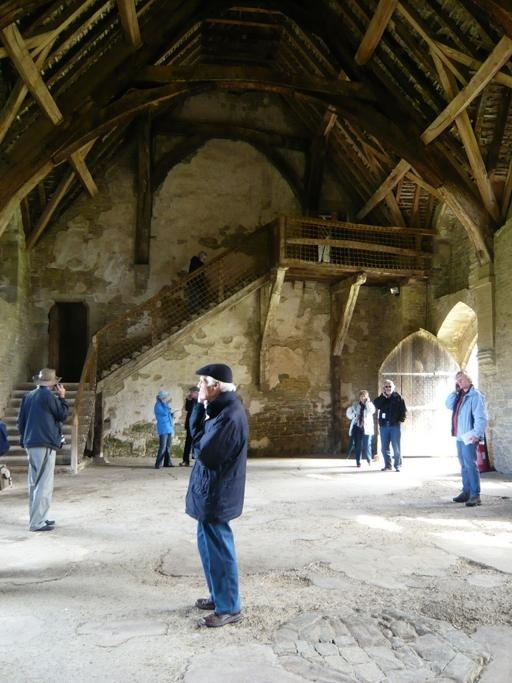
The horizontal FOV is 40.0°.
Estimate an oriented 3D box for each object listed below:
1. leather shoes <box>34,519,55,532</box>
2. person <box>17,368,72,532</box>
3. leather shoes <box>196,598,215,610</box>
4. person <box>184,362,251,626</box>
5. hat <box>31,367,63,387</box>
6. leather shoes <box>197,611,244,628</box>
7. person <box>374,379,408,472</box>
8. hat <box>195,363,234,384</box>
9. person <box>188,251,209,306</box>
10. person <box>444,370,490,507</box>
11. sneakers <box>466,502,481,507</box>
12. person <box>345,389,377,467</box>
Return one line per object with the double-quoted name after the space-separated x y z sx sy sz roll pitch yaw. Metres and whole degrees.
-1.756 1.518 5.813 0.162 0.063 0.219 0 -2 -5 "leather shoes"
-1.792 0.892 5.900 0.402 1.324 0.355 2 -3 -33 "person"
-0.286 1.487 3.966 0.129 0.051 0.046 9 -3 2 "leather shoes"
-0.214 0.823 3.899 0.341 1.405 0.387 0 -3 -3 "person"
-1.832 0.306 6.102 0.242 0.123 0.268 5 15 -12 "hat"
-0.187 1.465 3.757 0.217 0.089 0.077 2 14 -18 "leather shoes"
1.881 1.166 9.836 0.408 1.247 0.698 0 -3 11 "person"
-0.235 0.174 3.898 0.163 0.071 0.116 19 -4 9 "hat"
-1.018 -1.110 12.351 0.343 0.983 0.827 0 -3 -5 "person"
2.101 0.946 6.947 0.317 1.297 0.646 0 -3 4 "person"
2.106 1.570 6.767 0.149 0.060 0.049 6 -20 -11 "sneakers"
1.581 1.303 10.558 0.363 1.139 0.749 0 -3 8 "person"
